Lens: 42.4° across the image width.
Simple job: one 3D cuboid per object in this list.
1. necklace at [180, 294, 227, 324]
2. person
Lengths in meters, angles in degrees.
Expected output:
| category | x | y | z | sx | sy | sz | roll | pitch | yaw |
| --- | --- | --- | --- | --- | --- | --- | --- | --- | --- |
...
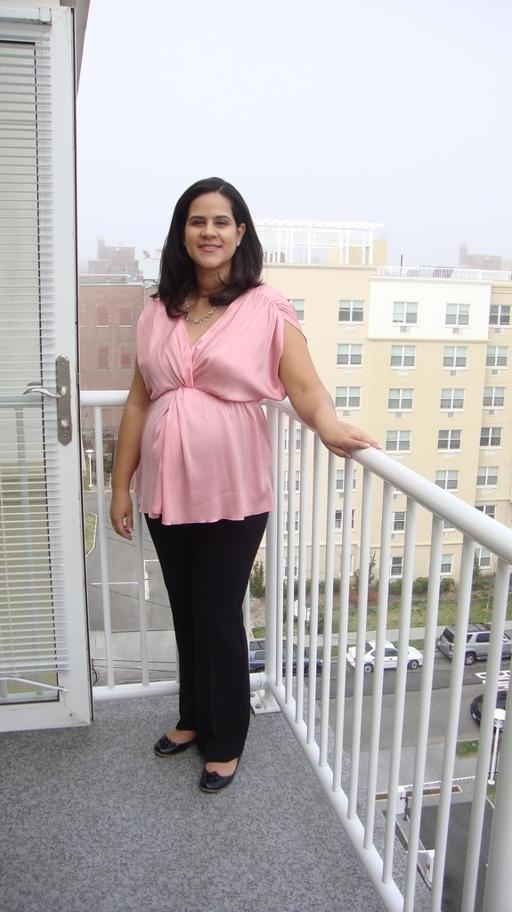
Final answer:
| category | x | y | z | sx | sy | sz | roll | pitch | yaw |
| --- | --- | --- | --- | --- | --- | --- | --- | --- | --- |
| necklace | -0.120 | -0.313 | 1.424 | 0.074 | 0.065 | 0.014 | -19 | -24 | 31 |
| person | -0.035 | 0.089 | 1.444 | 0.603 | 1.307 | 0.300 | 8 | 11 | 33 |
